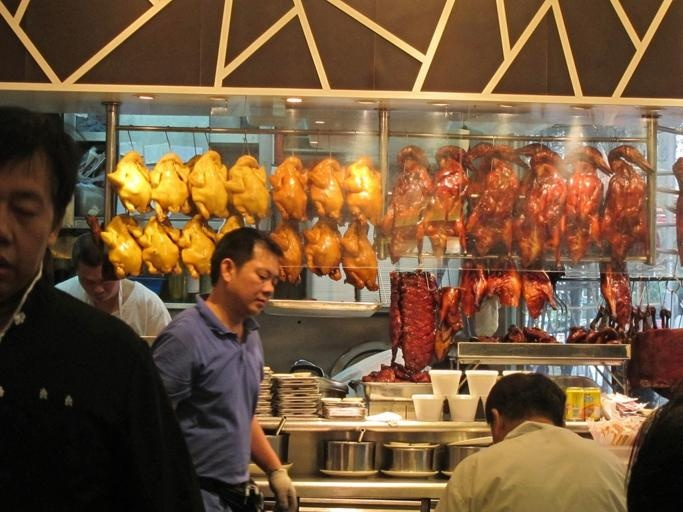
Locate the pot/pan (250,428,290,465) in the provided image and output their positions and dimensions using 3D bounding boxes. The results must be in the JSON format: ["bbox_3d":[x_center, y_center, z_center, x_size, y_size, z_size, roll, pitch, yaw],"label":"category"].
[{"bbox_3d":[-0.404,1.128,4.854,0.210,0.252,0.215,-10,-12,29],"label":"pot/pan"}]

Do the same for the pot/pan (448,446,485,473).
[{"bbox_3d":[0.712,1.159,4.699,0.245,0.195,0.259,1,-9,-1],"label":"pot/pan"}]

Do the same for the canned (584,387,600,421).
[{"bbox_3d":[1.568,0.935,5.123,0.112,0.222,0.121,-2,-8,22],"label":"canned"}]

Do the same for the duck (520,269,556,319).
[{"bbox_3d":[1.284,0.232,5.313,0.177,0.313,0.096,-5,8,4],"label":"duck"}]

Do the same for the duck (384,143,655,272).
[{"bbox_3d":[1.182,-0.344,5.177,1.440,0.843,0.599,-4,8,-11],"label":"duck"}]

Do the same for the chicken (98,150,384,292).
[{"bbox_3d":[-0.630,-0.329,5.649,1.407,0.890,0.806,-5,7,-6],"label":"chicken"}]
